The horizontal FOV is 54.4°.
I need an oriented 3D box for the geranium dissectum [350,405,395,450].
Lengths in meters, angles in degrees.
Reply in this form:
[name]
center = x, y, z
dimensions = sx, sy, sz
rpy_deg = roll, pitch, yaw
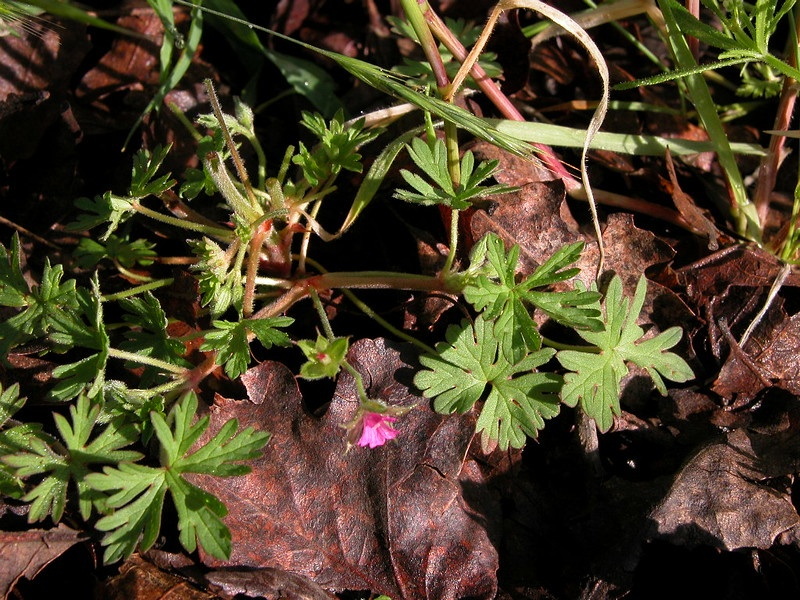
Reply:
[geranium dissectum]
center = -0.091, 0.430, 2.611
dimensions = 0.164, 0.119, 0.066
rpy_deg = -7, 37, -11
